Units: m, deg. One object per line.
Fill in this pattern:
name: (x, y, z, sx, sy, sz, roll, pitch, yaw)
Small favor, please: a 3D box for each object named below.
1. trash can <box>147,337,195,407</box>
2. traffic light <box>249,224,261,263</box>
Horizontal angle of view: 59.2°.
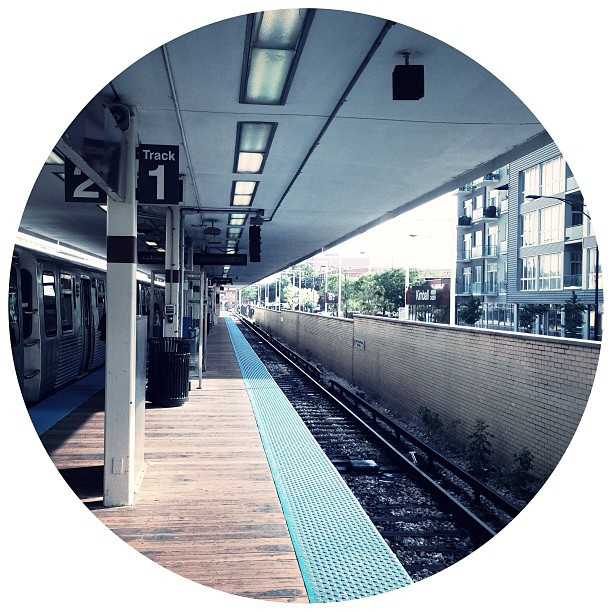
trash can: (-2.513, 1.239, 9.973, 0.849, 1.262, 0.854, -1, -4, 24)
traffic light: (-1.183, -1.391, 11.964, 0.208, 0.727, 0.313, 3, 1, 1)
